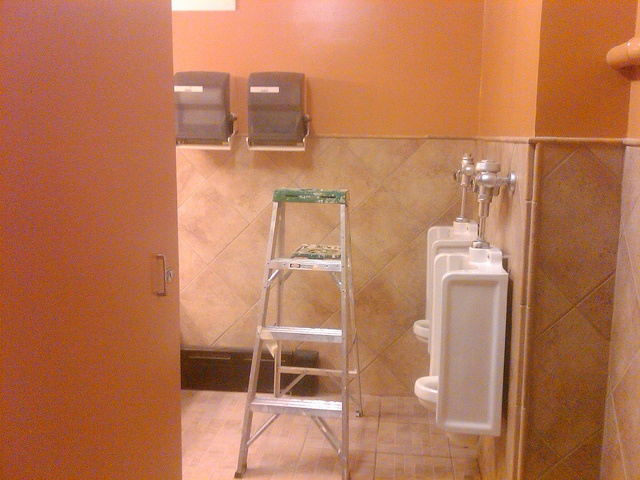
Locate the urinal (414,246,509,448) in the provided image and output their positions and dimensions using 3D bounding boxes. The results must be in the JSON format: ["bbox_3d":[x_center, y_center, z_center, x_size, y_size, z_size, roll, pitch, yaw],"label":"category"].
[{"bbox_3d":[0.522,0.390,1.985,0.335,0.724,0.394,-1,-2,9],"label":"urinal"}]

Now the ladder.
[{"bbox_3d":[-0.075,0.391,2.709,0.566,1.330,0.748,-1,-2,3],"label":"ladder"}]
